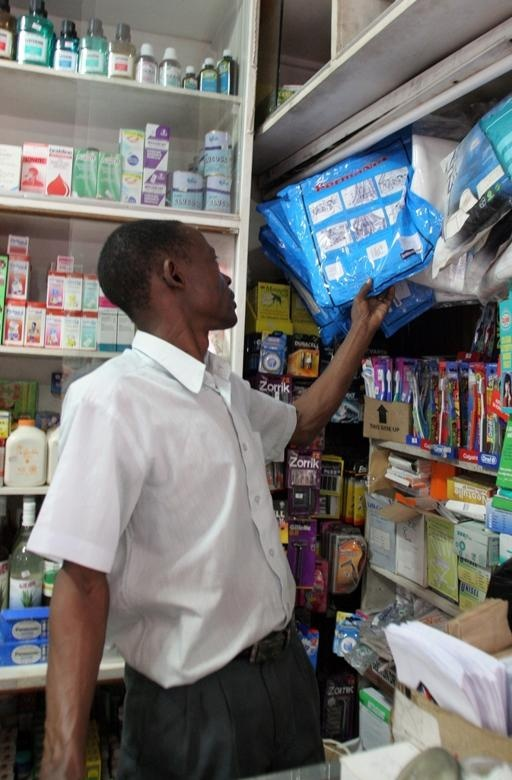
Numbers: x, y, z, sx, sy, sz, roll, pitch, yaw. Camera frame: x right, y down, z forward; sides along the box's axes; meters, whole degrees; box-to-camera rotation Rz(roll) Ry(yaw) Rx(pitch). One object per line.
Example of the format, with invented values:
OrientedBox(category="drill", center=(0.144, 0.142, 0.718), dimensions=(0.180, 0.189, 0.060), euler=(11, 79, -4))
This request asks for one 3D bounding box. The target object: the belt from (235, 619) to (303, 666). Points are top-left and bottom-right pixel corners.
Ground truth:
OrientedBox(category="belt", center=(0.029, 0.468, 1.008), dimensions=(0.083, 0.067, 0.036), euler=(-7, -40, -4))
